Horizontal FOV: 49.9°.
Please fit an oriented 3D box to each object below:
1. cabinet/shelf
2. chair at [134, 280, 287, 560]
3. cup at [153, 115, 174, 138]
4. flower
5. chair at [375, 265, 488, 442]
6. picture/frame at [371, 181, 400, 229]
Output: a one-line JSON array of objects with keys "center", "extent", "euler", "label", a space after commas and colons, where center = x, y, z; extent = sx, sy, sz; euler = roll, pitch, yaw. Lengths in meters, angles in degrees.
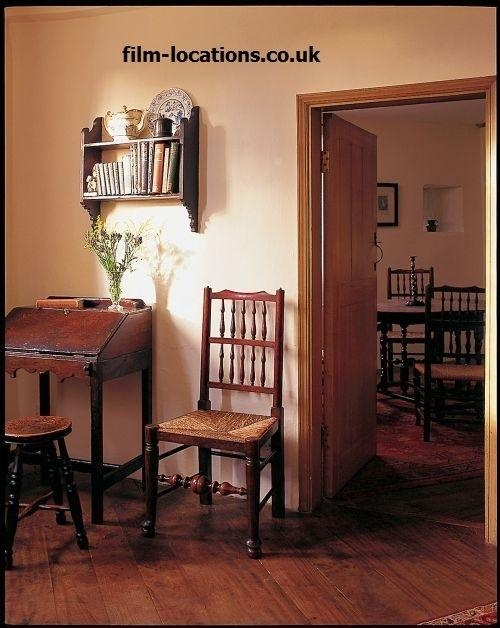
[{"center": [-0.568, -0.780, 2.874], "extent": [0.630, 0.711, 0.196], "euler": [0, 1, 32], "label": "cabinet/shelf"}, {"center": [-0.152, 0.424, 2.548], "extent": [0.596, 1.114, 0.654], "euler": [0, 2, 18], "label": "chair"}, {"center": [-0.447, -0.951, 2.746], "extent": [0.093, 0.125, 0.103], "euler": [0, 0, 0], "label": "cup"}, {"center": [-0.719, -0.296, 3.054], "extent": [0.377, 0.609, 0.410], "euler": [1, -1, 11], "label": "flower"}, {"center": [1.584, 0.262, 4.700], "extent": [0.919, 1.090, 1.937], "euler": [0, 1, 12], "label": "chair"}, {"center": [1.598, -1.263, 6.211], "extent": [0.282, 0.525, 0.062], "euler": [-1, 1, -23], "label": "picture/frame"}]
